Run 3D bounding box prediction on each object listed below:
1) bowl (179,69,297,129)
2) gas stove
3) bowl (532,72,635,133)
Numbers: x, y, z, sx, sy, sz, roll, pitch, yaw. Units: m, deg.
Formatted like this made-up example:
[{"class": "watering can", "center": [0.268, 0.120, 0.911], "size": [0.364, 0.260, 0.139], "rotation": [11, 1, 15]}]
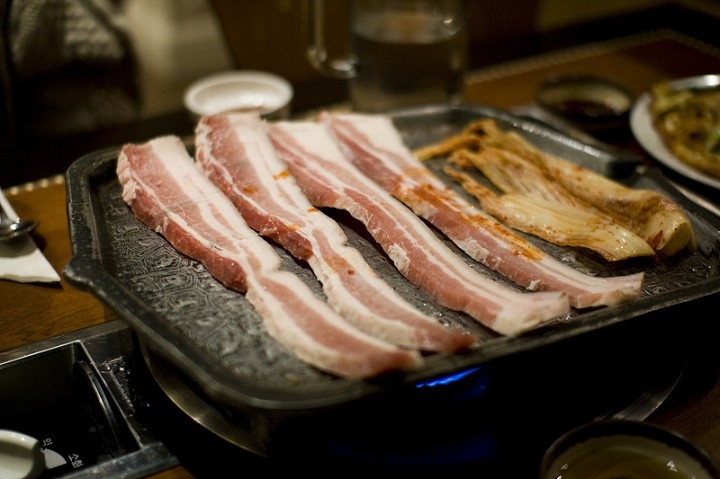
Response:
[{"class": "bowl", "center": [-0.479, -0.617, 2.503], "size": [0.343, 0.071, 0.340], "rotation": [2, 34, -1]}, {"class": "gas stove", "center": [0.273, 0.406, 1.533], "size": [0.958, 0.131, 0.580], "rotation": [-12, 38, -16]}, {"class": "bowl", "center": [0.954, -0.576, 2.535], "size": [0.310, 0.073, 0.304], "rotation": [0, 36, 0]}]
